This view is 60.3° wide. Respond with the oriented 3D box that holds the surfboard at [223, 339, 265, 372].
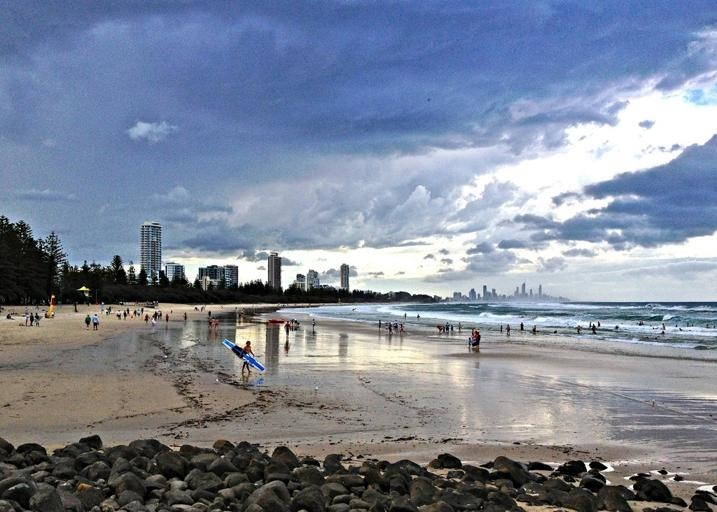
[{"bbox_3d":[-6.941,6.000,37.098,2.999,0.887,0.781,26,10,37],"label":"surfboard"}]
